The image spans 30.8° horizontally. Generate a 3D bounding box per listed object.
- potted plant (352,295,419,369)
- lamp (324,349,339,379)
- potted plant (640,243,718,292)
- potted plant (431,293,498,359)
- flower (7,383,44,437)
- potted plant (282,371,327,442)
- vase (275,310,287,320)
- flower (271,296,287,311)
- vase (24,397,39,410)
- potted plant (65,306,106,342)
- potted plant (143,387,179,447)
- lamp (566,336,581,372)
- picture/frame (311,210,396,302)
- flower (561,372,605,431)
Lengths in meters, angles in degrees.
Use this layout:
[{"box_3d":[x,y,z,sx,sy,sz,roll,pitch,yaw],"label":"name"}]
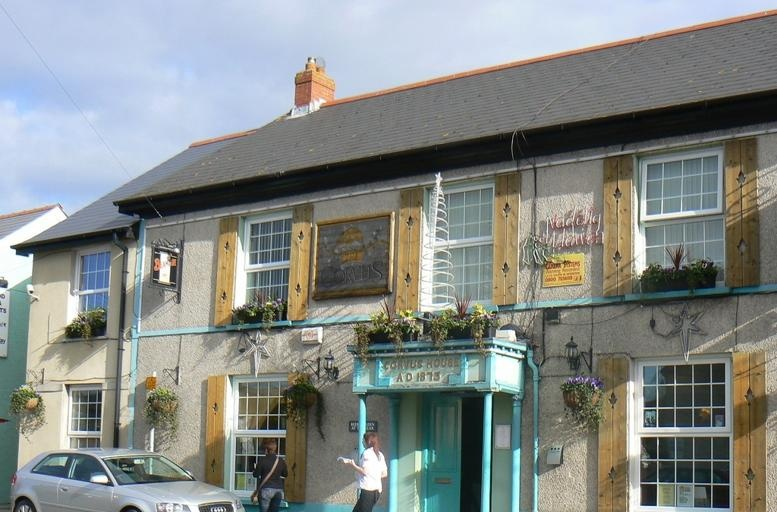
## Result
[{"box_3d":[0.010,1.441,28.751,1.206,1.144,0.994,-6,12,-14],"label":"potted plant"},{"box_3d":[-1.229,2.306,29.830,0.337,0.632,0.265,-1,-15,10],"label":"lamp"},{"box_3d":[5.650,0.196,27.233,1.357,0.879,0.534,-5,12,24],"label":"potted plant"},{"box_3d":[1.518,1.339,28.102,1.183,1.103,0.893,-6,-1,14],"label":"potted plant"},{"box_3d":[-8.579,3.588,33.259,0.825,1.205,0.577,-8,-17,32],"label":"flower"},{"box_3d":[-1.783,3.155,30.122,0.888,1.262,1.031,-7,-17,-11],"label":"potted plant"},{"box_3d":[-2.340,1.275,30.611,0.235,0.252,0.108,2,-14,-2],"label":"vase"},{"box_3d":[-2.380,1.025,30.785,0.293,0.366,0.419,4,-15,-10],"label":"flower"},{"box_3d":[-8.397,3.477,33.121,0.261,0.229,0.265,1,-8,-10],"label":"vase"},{"box_3d":[-7.093,1.589,33.030,1.075,0.778,0.364,-6,-16,27],"label":"potted plant"},{"box_3d":[-5.063,3.605,31.477,0.486,1.275,0.846,1,-3,-16],"label":"potted plant"},{"box_3d":[3.664,1.925,27.817,0.283,0.692,0.130,0,-15,8],"label":"lamp"},{"box_3d":[-0.678,0.043,29.948,1.822,1.636,0.133,-4,-18,26],"label":"picture/frame"},{"box_3d":[3.799,2.815,27.658,1.036,0.822,1.054,1,-2,-8],"label":"flower"}]
